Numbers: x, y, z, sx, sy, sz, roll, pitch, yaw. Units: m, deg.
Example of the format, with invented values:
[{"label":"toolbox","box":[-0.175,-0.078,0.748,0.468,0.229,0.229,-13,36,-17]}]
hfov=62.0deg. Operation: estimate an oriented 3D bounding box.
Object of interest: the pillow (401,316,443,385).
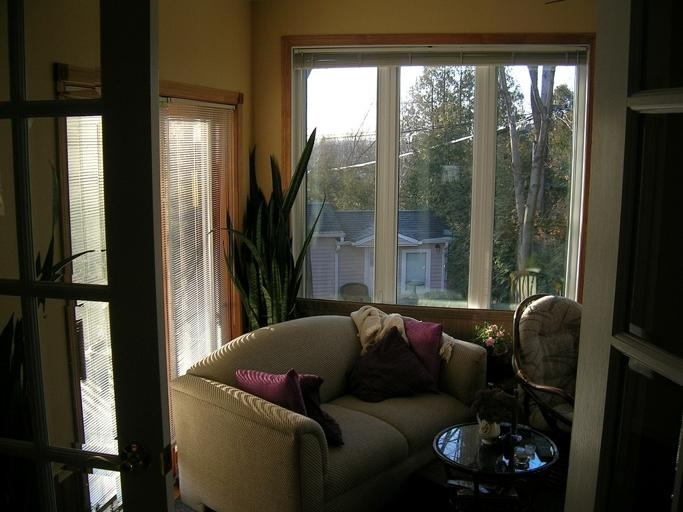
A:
[{"label":"pillow","box":[0.547,0.596,3.733,0.299,0.348,0.127,-2,-15,28]}]

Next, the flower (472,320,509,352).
[{"label":"flower","box":[1.129,0.629,4.253,0.190,0.214,0.178,19,19,41]}]

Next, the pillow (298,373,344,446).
[{"label":"pillow","box":[-0.113,0.810,2.970,0.088,0.338,0.304,-13,-14,13]}]

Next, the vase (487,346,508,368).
[{"label":"vase","box":[1.151,0.743,4.216,0.151,0.134,0.168,-5,11,-7]}]

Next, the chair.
[{"label":"chair","box":[1.264,0.705,3.543,0.392,0.822,0.692,3,8,23]}]
